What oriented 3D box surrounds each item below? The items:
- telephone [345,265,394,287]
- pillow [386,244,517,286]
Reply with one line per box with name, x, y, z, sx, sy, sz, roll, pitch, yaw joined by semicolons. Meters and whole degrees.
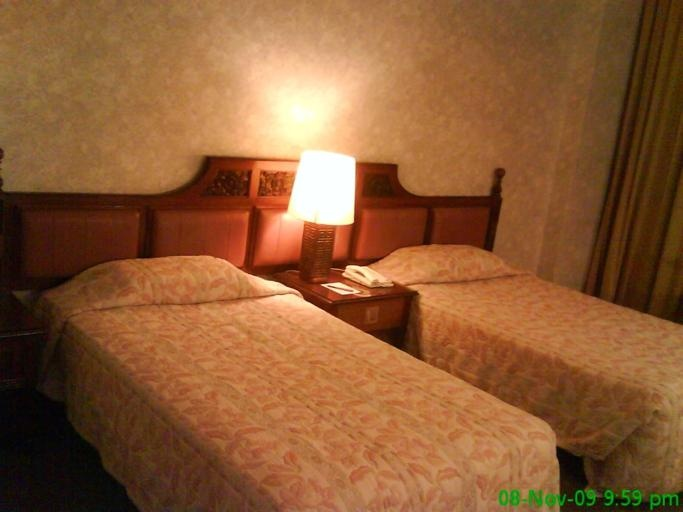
telephone;0.168;0.084;2.880;0.169;0.059;0.166;-6;19;-33
pillow;0.692;0.055;3.221;0.620;0.101;0.346;-5;16;-31
